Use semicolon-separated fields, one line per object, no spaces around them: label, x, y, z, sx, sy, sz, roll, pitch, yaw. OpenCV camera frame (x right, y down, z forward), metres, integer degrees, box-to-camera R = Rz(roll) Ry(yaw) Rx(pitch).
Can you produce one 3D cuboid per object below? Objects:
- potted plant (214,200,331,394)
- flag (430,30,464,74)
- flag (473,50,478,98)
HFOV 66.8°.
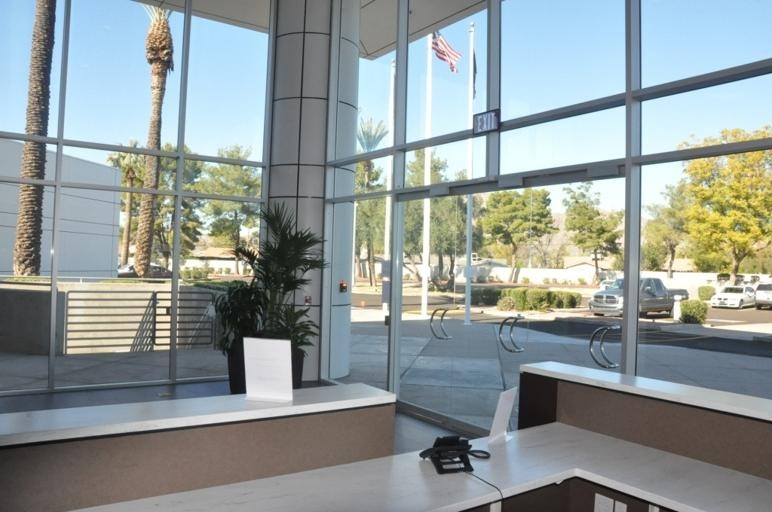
potted plant;-1.657;0.524;8.116;1.612;2.545;1.706;1;0;-2
flag;0.786;-2.563;7.337;0.570;0.663;0.094;8;9;23
flag;1.076;-2.194;7.027;0.017;0.583;0.095;1;0;-35
